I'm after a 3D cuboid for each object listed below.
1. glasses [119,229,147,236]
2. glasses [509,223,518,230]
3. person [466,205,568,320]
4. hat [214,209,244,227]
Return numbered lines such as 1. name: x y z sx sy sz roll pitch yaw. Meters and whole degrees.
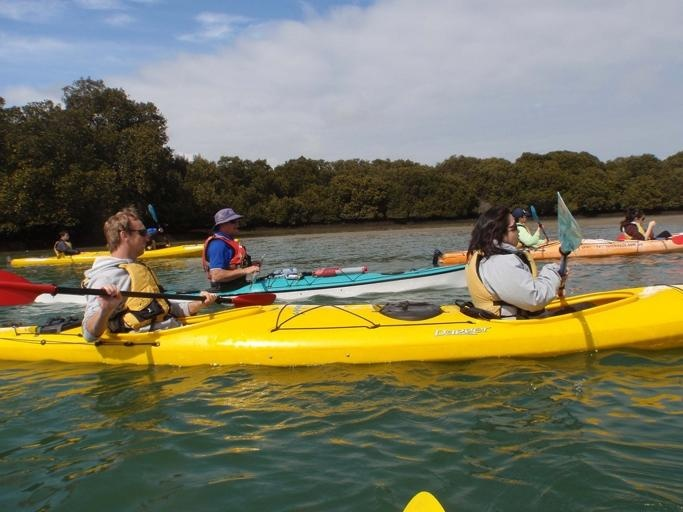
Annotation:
1. glasses: -1.956 -0.225 5.856 0.126 0.058 0.312 -2 2 16
2. glasses: 1.634 -0.283 5.809 0.104 0.055 0.058 8 22 7
3. person: 1.666 0.069 5.888 0.560 1.094 0.814 -8 5 -27
4. hat: -1.542 -0.543 8.249 0.395 0.129 0.356 -11 -9 16
